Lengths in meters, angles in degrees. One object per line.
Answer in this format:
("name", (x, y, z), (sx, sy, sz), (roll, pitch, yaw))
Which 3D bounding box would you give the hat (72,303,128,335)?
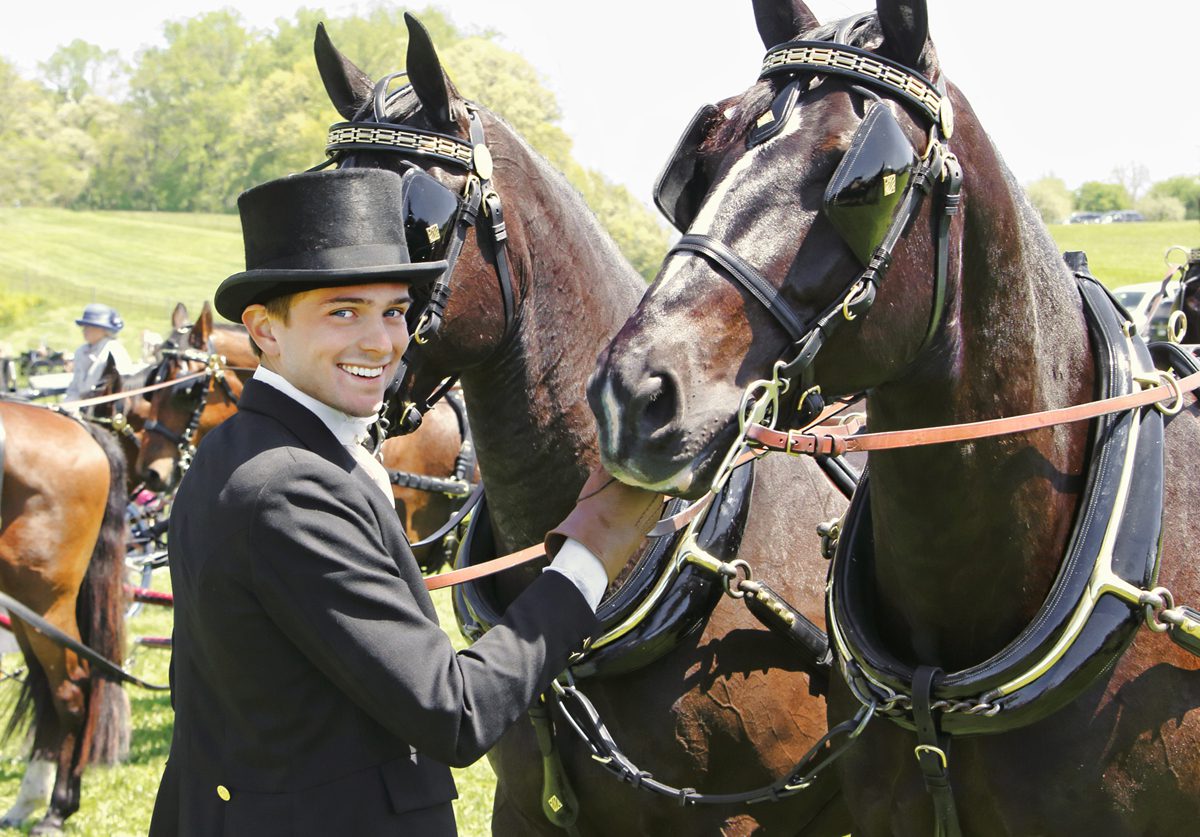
("hat", (-3.997, -0.805, 12.457), (0.308, 0.133, 0.353), (4, 4, -32))

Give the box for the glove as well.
("glove", (0.013, 0.285, 4.437), (0.364, 0.358, 0.257), (38, -7, 1))

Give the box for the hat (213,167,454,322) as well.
("hat", (-0.753, -0.442, 4.408), (0.535, 0.246, 0.445), (-12, 1, 9))
